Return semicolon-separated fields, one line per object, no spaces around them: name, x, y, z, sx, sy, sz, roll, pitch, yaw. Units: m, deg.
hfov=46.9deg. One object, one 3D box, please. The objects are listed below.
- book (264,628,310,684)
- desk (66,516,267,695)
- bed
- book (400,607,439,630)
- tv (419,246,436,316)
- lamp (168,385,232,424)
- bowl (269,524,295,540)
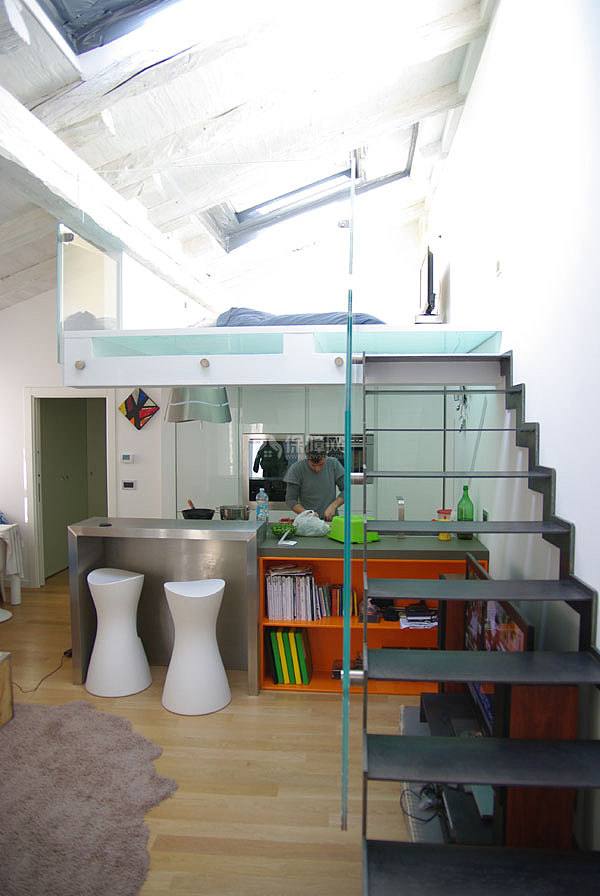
book;-0.065;1.181;3.922;0.221;0.443;0.425;-2;-2;3
desk;-0.860;0.989;4.393;0.900;0.965;0.506;1;-10;-7
bed;-0.174;-0.466;3.549;2.127;0.301;0.511;1;4;13
book;0.657;0.949;3.854;0.202;0.138;0.166;1;4;6
tv;0.988;-1.260;5.225;0.157;0.495;0.181;0;0;25
lamp;-0.612;-0.268;4.202;0.234;0.170;0.253;3;4;8
bowl;-0.099;0.490;4.094;0.089;0.058;0.094;-1;2;0
